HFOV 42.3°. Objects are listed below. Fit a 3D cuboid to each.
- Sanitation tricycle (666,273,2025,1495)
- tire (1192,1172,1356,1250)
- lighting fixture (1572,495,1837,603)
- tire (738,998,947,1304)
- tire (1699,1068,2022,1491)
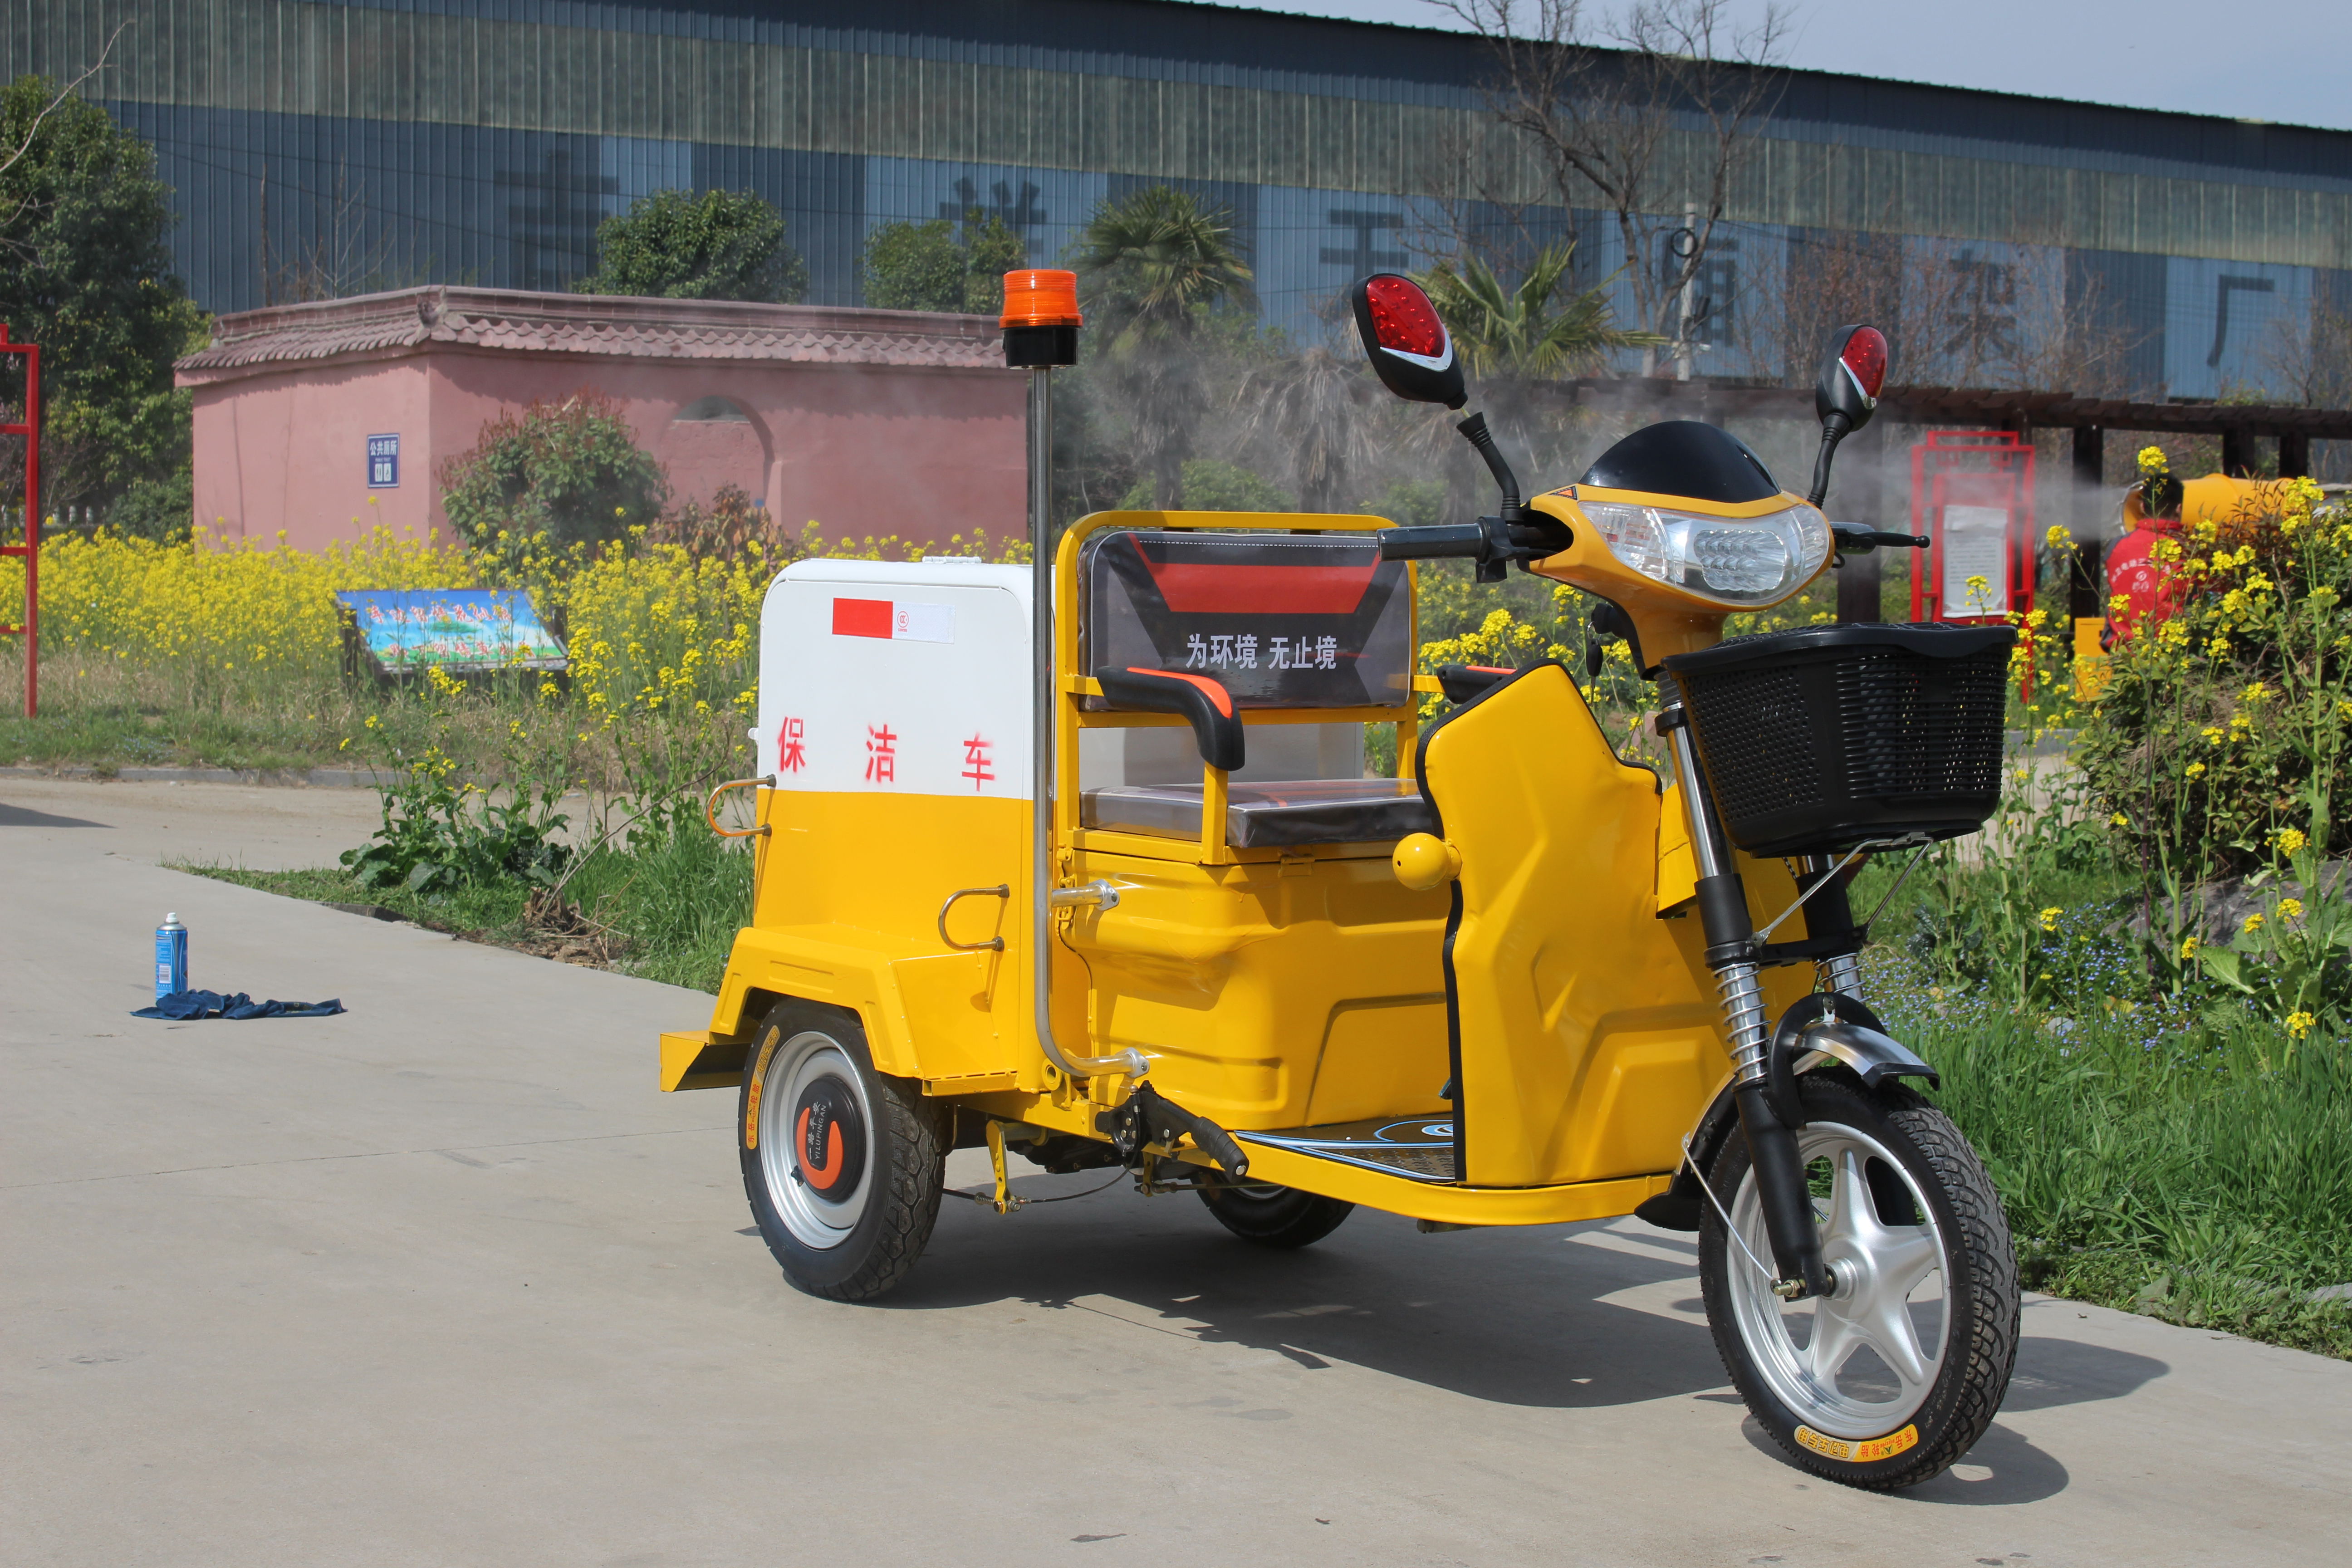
[{"bbox_3d":[0.668,0.336,10.380,2.372,3.881,5.015,-2,5,-38],"label":"Sanitation tricycle"},{"bbox_3d":[0.352,1.531,10.703,0.380,0.147,0.430,1,1,24],"label":"tire"},{"bbox_3d":[1.576,-0.695,8.944,0.457,0.258,0.367,10,3,26],"label":"lighting fixture"},{"bbox_3d":[-1.100,1.242,10.168,0.235,1.096,0.819,1,1,-39],"label":"tire"},{"bbox_3d":[1.966,1.484,8.854,0.378,1.235,1.098,0,4,-37],"label":"tire"}]
